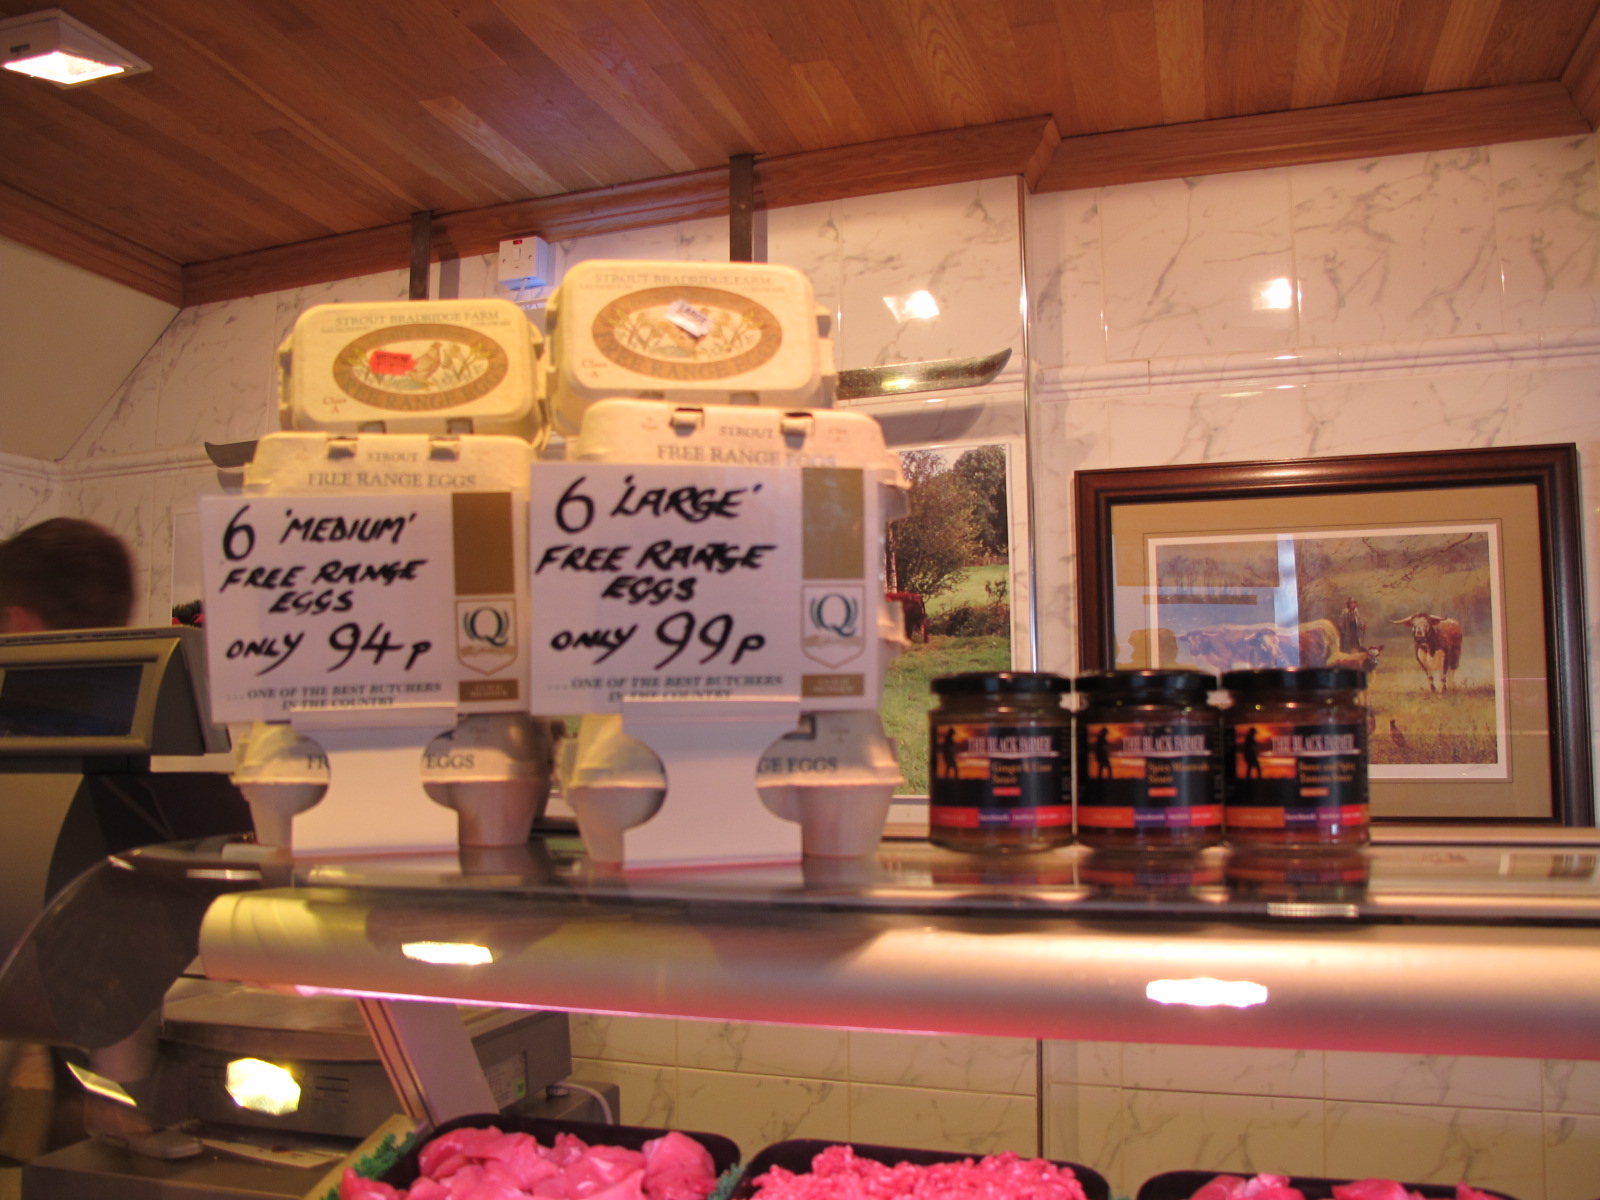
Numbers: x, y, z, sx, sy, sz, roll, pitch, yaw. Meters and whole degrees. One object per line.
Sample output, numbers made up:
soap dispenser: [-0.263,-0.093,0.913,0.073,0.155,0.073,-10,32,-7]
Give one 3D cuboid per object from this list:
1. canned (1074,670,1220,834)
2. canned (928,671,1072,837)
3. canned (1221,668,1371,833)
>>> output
canned: [0.316,0.151,1.192,0.177,0.151,0.158,-1,-7,11]
canned: [0.201,0.158,1.179,0.154,0.142,0.157,-7,-11,40]
canned: [0.457,0.149,1.163,0.159,0.144,0.153,-5,-9,31]
